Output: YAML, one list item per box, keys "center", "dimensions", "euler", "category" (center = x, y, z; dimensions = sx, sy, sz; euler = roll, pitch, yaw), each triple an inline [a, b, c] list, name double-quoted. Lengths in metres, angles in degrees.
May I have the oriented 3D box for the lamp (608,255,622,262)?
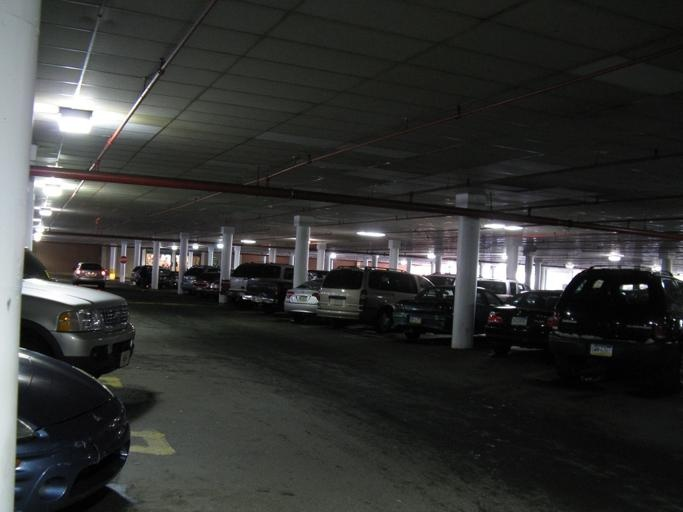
- center: [21.858, 0.112, 38.889]
  dimensions: [1.199, 0.345, 1.090]
  euler: [2, -5, -13]
  category: "lamp"
